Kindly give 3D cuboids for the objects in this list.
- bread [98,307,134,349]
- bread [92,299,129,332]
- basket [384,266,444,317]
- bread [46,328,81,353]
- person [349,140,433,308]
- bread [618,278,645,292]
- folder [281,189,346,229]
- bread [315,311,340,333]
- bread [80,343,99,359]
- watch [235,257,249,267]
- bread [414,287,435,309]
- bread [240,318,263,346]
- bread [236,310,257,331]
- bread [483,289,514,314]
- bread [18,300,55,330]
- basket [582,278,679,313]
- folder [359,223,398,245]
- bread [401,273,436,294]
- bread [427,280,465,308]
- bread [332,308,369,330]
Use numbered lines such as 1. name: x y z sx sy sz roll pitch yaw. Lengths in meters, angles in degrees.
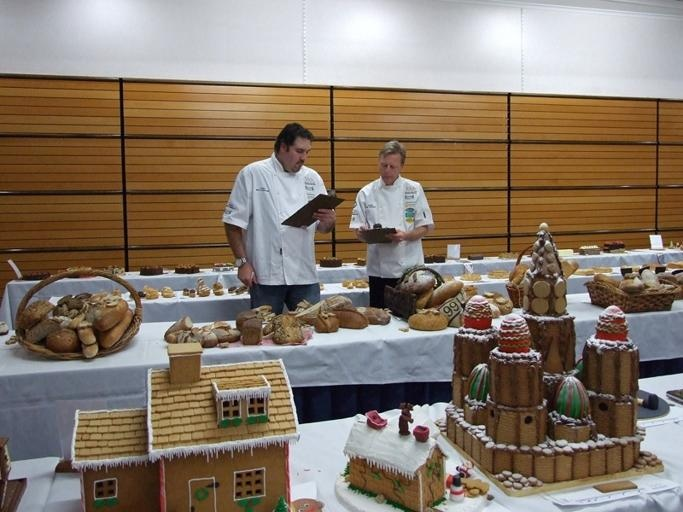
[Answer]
1. bread: -1.079 0.352 2.567 0.167 0.055 0.082 -53 -3 -31
2. bread: -1.109 0.283 2.550 0.083 0.058 0.155 7 22 9
3. basket: 0.419 0.173 3.163 0.290 0.302 0.303 -1 5 -25
4. bread: -1.282 0.392 2.451 0.134 0.114 0.059 -7 6 -26
5. person: 0.388 -0.038 4.156 0.601 1.578 0.482 1 17 8
6. bread: 1.750 0.179 3.224 0.123 0.076 0.104 -1 6 32
7. folder: -0.204 -0.284 3.394 0.408 0.212 0.315 0 7 41
8. bread: -0.083 0.363 2.940 0.104 0.088 0.107 1 -2 3
9. bread: -1.159 0.439 2.461 0.073 0.070 0.070 -7 6 -29
10. watch: -0.663 0.036 3.535 0.079 0.049 0.076 -31 -33 29
11. bread: 0.467 0.244 3.066 0.069 0.135 0.043 31 -1 -26
12. bread: -0.446 0.381 2.705 0.091 0.127 0.123 -1 4 -3
13. bread: -0.504 0.336 2.790 0.080 0.057 0.099 -2 -2 0
14. bread: 0.908 0.257 3.124 0.121 0.065 0.171 6 6 -7
15. bread: -1.425 0.285 2.530 0.109 0.047 0.150 6 49 44
16. basket: 1.835 0.249 3.303 0.444 0.170 0.406 0 4 -19
17. folder: 0.226 -0.144 3.765 0.161 0.112 0.339 -9 7 -41
18. bread: 0.439 0.162 3.059 0.149 0.055 0.095 -18 23 -23
19. bread: 0.573 0.210 2.966 0.216 0.071 0.105 -35 30 23
20. bread: 0.058 0.342 2.964 0.156 0.070 0.100 4 8 41
